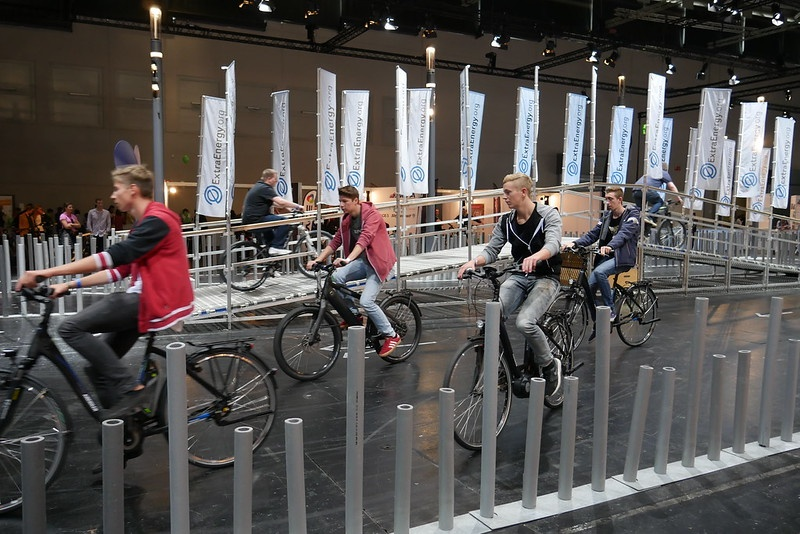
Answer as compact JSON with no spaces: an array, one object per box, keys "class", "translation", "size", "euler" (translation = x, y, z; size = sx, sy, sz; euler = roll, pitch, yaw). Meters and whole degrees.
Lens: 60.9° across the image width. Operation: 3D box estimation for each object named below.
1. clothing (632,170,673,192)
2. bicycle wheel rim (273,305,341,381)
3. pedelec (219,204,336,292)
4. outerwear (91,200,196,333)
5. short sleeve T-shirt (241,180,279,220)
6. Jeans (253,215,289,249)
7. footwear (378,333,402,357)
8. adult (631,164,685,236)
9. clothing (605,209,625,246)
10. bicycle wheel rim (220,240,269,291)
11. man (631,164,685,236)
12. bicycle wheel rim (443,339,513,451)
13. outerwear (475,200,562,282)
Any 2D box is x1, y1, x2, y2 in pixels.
[{"class":"clothing","translation":[6.083,-2.011,16.020],"size":[0.994,0.339,0.966],"euler":[1,2,-24]},{"class":"bicycle wheel rim","translation":[-1.213,1.050,9.090],"size":[0.830,0.846,0.216],"euler":[21,11,-38]},{"class":"pedelec","translation":[-2.436,-0.195,12.945],"size":[2.547,1.502,1.232],"euler":[-13,20,-28]},{"class":"outerwear","translation":[-2.818,0.018,7.360],"size":[1.201,1.479,1.059],"euler":[0,3,-10]},{"class":"short sleeve T-shirt","translation":[-2.568,-1.188,12.455],"size":[0.613,0.770,0.347],"euler":[-2,8,-12]},{"class":"Jeans","translation":[-2.315,-0.613,12.623],"size":[0.482,0.635,0.232],"euler":[6,10,-4]},{"class":"footwear","translation":[-0.153,1.113,9.598],"size":[0.176,0.188,0.449],"euler":[-5,32,50]},{"class":"adult","translation":[6.100,-1.730,16.245],"size":[1.138,1.639,0.924],"euler":[-1,3,-15]},{"class":"clothing","translation":[3.462,-0.622,10.941],"size":[0.128,0.509,0.294],"euler":[19,-10,-43]},{"class":"bicycle wheel rim","translation":[-2.928,-0.018,12.811],"size":[0.988,0.930,0.293],"euler":[-20,19,-40]},{"class":"man","translation":[6.047,-1.713,16.231],"size":[1.053,1.652,0.899],"euler":[0,1,-22]},{"class":"bicycle wheel rim","translation":[0.892,1.348,7.480],"size":[0.676,1.300,1.305],"euler":[1,7,10]},{"class":"outerwear","translation":[1.550,-0.294,8.163],"size":[0.999,0.952,0.768],"euler":[-9,-5,-31]}]
